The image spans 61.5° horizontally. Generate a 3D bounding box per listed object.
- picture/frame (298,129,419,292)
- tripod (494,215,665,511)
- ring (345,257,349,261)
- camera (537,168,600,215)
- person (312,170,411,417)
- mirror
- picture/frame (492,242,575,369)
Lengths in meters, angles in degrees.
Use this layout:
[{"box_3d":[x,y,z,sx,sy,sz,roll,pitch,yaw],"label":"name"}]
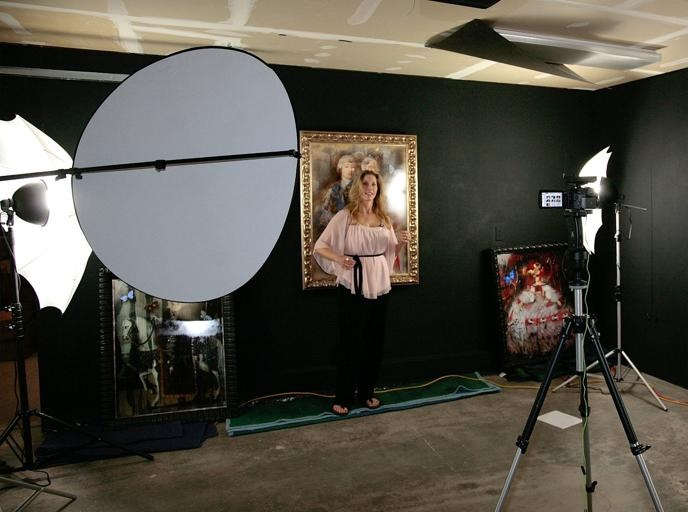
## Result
[{"box_3d":[0.076,-0.408,4.791,1.196,1.649,0.087,-1,-3,-23],"label":"picture/frame"},{"box_3d":[1.606,0.590,3.743,0.898,1.793,1.651,6,16,26],"label":"tripod"},{"box_3d":[0.030,0.025,4.494,0.021,0.023,0.005,0,-2,-18],"label":"ring"},{"box_3d":[1.435,-0.378,3.609,0.303,0.244,0.244,-4,-1,5],"label":"camera"},{"box_3d":[0.138,0.296,4.653,0.651,1.890,0.460,-7,15,-22],"label":"person"},{"box_3d":[-1.353,0.711,4.533,0.934,1.406,0.083,0,25,-14],"label":"mirror"},{"box_3d":[1.660,0.479,5.204,0.901,1.196,0.075,-7,3,-25],"label":"picture/frame"}]
